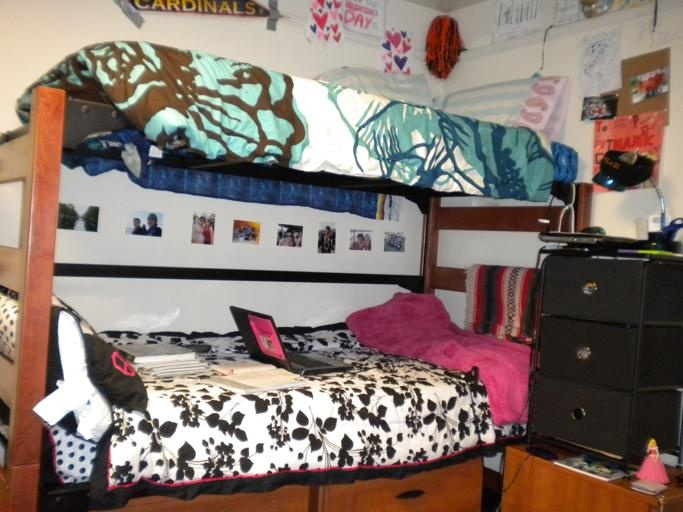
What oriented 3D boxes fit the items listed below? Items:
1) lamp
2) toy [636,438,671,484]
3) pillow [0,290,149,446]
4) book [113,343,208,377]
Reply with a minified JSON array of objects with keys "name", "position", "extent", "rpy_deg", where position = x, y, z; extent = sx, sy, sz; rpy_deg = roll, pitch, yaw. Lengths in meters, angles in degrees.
[{"name":"lamp","position":[1.479,-0.289,2.649],"extent":[0.301,0.475,0.324],"rpy_deg":[-1,2,-18]},{"name":"toy","position":[1.342,0.882,2.333],"extent":[0.146,0.180,0.119],"rpy_deg":[8,17,28]},{"name":"pillow","position":[-1.028,0.425,2.049],"extent":[0.466,0.545,0.407],"rpy_deg":[1,2,38]},{"name":"book","position":[-0.828,0.500,2.533],"extent":[0.214,0.053,0.214],"rpy_deg":[3,5,-37]}]
